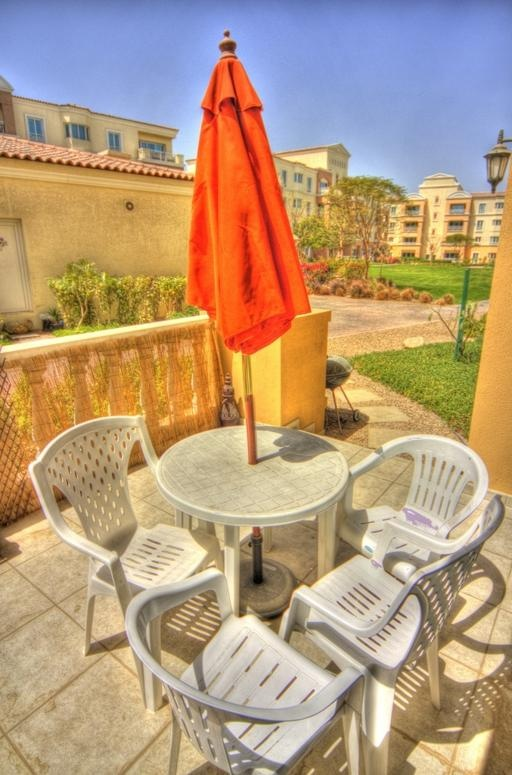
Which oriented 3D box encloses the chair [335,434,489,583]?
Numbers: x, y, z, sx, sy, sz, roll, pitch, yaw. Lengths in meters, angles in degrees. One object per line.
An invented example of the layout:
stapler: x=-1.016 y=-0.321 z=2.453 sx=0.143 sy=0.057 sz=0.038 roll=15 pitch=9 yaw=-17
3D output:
chair: x=0.720 y=0.576 z=2.276 sx=0.581 sy=0.500 sz=0.665 roll=17 pitch=25 yaw=42

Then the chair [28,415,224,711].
chair: x=-0.518 y=0.762 z=2.228 sx=0.775 sy=1.059 sz=0.809 roll=17 pitch=22 yaw=41

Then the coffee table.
coffee table: x=-0.020 y=0.378 z=2.270 sx=0.857 sy=0.662 sz=0.824 roll=-16 pitch=31 yaw=-25

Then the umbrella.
umbrella: x=-0.082 y=-0.565 z=2.142 sx=0.561 sy=1.918 sz=0.391 roll=7 pitch=13 yaw=28
